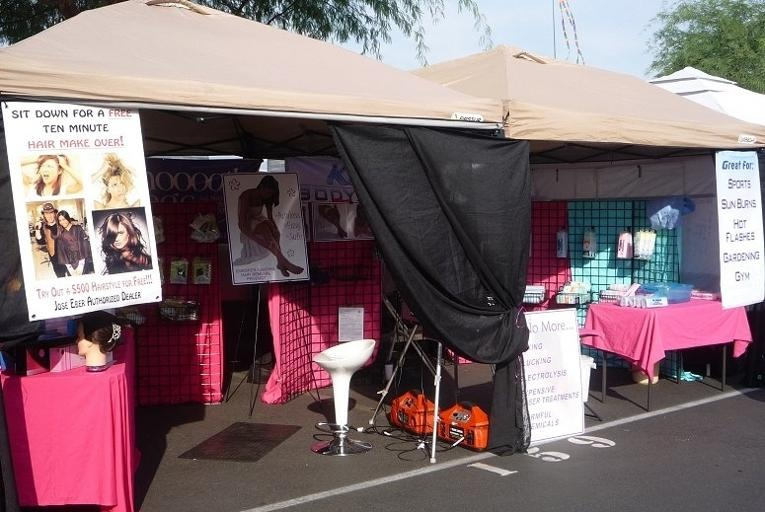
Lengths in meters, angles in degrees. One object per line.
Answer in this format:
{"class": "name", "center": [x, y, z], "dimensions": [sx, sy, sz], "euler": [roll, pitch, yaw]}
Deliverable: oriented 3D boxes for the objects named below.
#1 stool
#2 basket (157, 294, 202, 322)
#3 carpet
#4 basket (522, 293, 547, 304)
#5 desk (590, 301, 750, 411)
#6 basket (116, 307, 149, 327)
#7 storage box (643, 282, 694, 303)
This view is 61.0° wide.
{"class": "stool", "center": [-0.436, 1.519, 7.119], "dimensions": [0.658, 1.125, 0.686], "euler": [-1, 10, -1]}
{"class": "basket", "center": [-2.547, 0.660, 8.128], "dimensions": [0.510, 0.293, 0.351], "euler": [-2, 4, -8]}
{"class": "carpet", "center": [-1.549, 2.064, 7.200], "dimensions": [0.820, 0.029, 1.207], "euler": [4, 11, 25]}
{"class": "basket", "center": [2.106, 0.589, 9.037], "dimensions": [0.320, 0.114, 0.328], "euler": [-1, 2, -14]}
{"class": "desk", "center": [3.553, 0.815, 8.272], "dimensions": [1.868, 1.051, 1.238], "euler": [-2, 1, -30]}
{"class": "basket", "center": [-2.883, 0.692, 7.486], "dimensions": [0.354, 0.209, 0.611], "euler": [0, 3, -24]}
{"class": "storage box", "center": [3.751, 0.484, 8.636], "dimensions": [0.749, 0.185, 0.515], "euler": [-6, 12, -29]}
